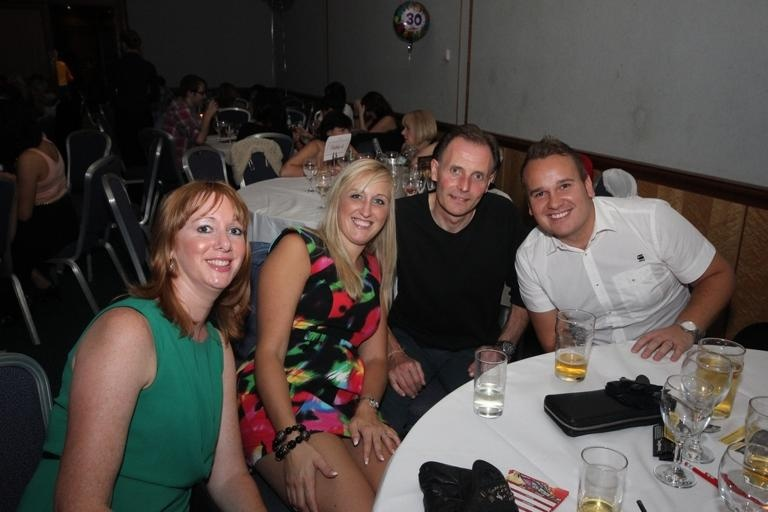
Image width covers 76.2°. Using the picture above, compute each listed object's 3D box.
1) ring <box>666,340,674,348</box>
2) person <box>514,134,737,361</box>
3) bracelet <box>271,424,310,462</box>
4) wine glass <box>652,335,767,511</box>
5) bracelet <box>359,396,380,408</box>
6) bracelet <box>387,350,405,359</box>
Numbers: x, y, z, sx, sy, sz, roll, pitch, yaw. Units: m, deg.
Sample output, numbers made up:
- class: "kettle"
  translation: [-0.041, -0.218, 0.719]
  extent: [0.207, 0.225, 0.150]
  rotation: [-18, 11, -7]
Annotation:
- class: "ring"
  translation: [1.122, 0.345, 1.930]
  extent: [0.025, 0.006, 0.025]
  rotation: [5, 39, -5]
- class: "person"
  translation: [1.114, -0.052, 2.300]
  extent: [0.967, 0.960, 0.411]
  rotation: [2, 16, 8]
- class: "bracelet"
  translation: [-0.351, 0.697, 1.887]
  extent: [0.139, 0.050, 0.105]
  rotation: [-38, 53, -21]
- class: "wine glass"
  translation: [1.010, 0.533, 1.525]
  extent: [0.320, 0.370, 0.176]
  rotation: [20, -27, -2]
- class: "bracelet"
  translation: [-0.053, 0.616, 2.077]
  extent: [0.047, 0.029, 0.059]
  rotation: [27, -4, -35]
- class: "bracelet"
  translation: [0.058, 0.482, 2.437]
  extent: [0.089, 0.040, 0.032]
  rotation: [-17, -5, 31]
